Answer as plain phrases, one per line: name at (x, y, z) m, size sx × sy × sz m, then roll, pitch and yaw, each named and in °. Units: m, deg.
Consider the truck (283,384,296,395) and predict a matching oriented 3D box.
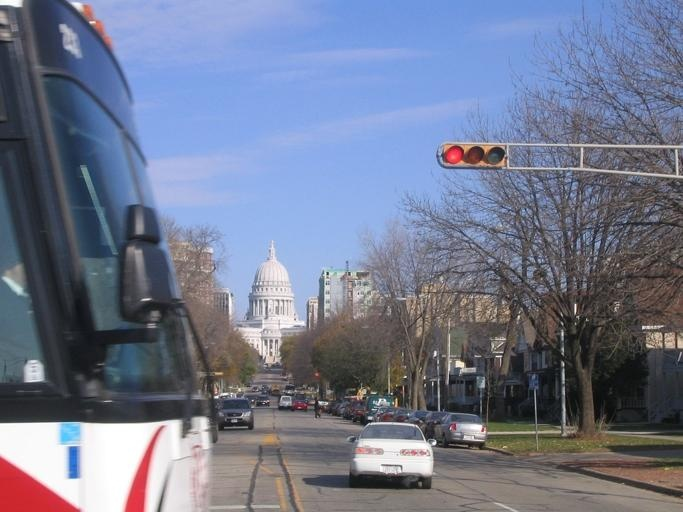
truck at (-5.335, 13.562, 134.389) m, size 1.274 × 1.188 × 2.266 m, roll 1°, pitch 4°, yaw -3°
